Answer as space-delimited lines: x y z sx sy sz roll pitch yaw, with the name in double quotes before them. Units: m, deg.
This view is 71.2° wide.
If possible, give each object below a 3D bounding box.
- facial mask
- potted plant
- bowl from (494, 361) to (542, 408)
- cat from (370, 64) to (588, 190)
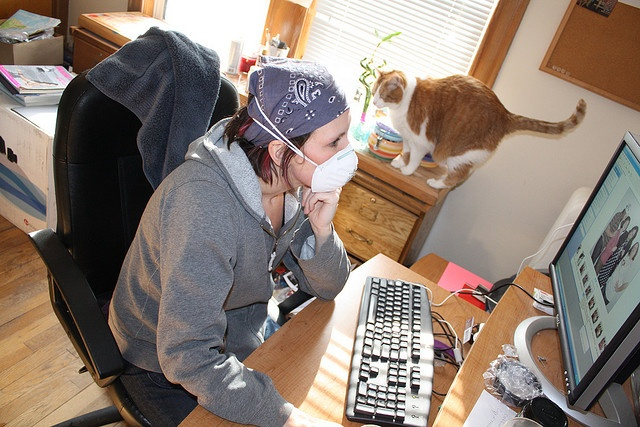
"facial mask" -0.048 -0.167 1.527 0.348 0.374 0.143 -14 28 26
"potted plant" 0.273 -0.709 2.571 0.164 0.629 0.145 3 -14 17
"bowl" 0.580 0.497 1.330 0.097 0.043 0.122 -9 46 -27
"cat" 0.743 -0.407 2.273 1.000 0.530 0.308 11 31 6
